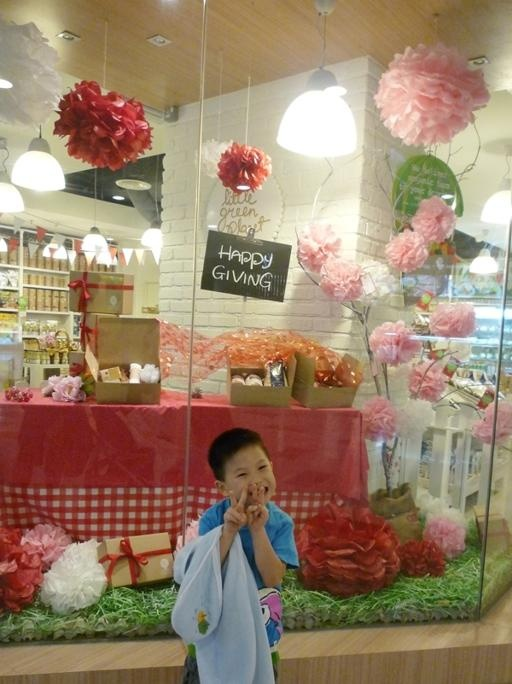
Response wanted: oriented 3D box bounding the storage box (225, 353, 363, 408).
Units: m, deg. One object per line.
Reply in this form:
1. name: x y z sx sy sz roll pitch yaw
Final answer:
1. storage box: 0.129 0.126 1.688 0.437 0.182 0.071 4 4 -18

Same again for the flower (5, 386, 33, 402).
1. flower: -0.764 0.168 1.684 0.053 0.030 0.066 4 -1 -9

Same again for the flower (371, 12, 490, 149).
1. flower: 0.568 -0.816 1.751 0.349 0.325 0.215 -18 10 12

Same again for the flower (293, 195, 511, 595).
1. flower: 0.600 0.119 2.592 1.137 1.885 1.163 2 2 29
